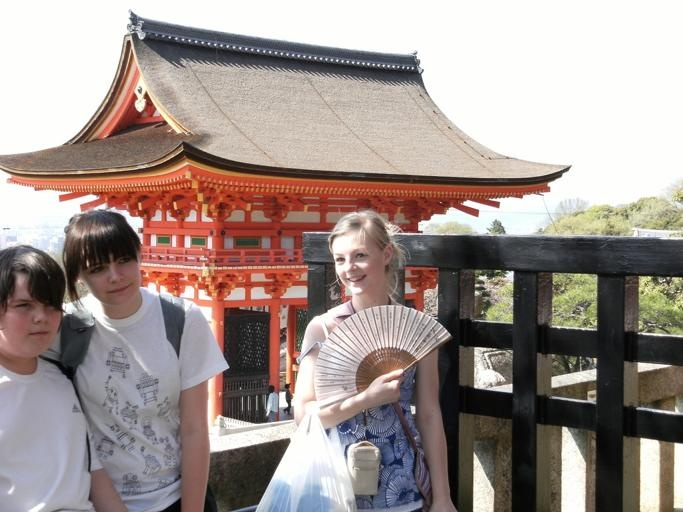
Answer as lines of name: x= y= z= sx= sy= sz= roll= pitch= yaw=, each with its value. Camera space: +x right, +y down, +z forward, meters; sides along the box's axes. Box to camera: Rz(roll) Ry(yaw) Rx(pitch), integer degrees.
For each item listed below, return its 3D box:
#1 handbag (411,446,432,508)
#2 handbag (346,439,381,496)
handbag: x=0.305 y=0.833 z=2.568 sx=0.071 sy=0.232 sz=0.030 roll=1 pitch=-6 yaw=-39
handbag: x=0.084 y=0.749 z=2.448 sx=0.150 sy=0.264 sz=0.153 roll=0 pitch=-5 yaw=-2
